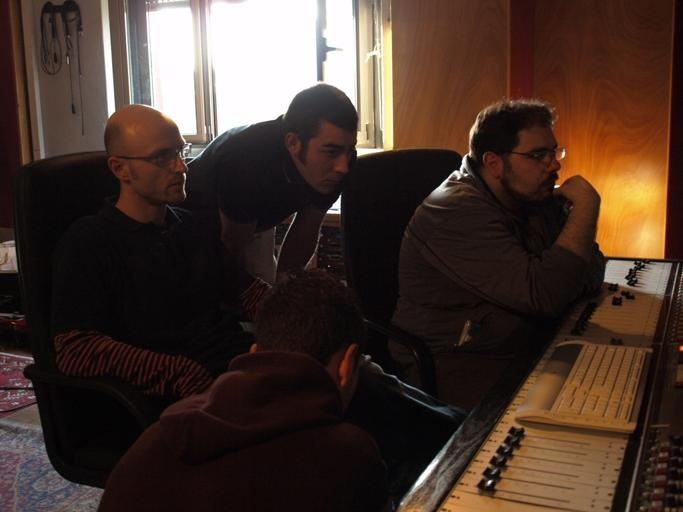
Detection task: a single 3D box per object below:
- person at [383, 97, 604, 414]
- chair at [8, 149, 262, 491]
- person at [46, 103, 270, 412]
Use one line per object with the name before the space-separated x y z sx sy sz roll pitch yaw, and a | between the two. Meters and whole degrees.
person | 0.620 -0.040 2.008 0.790 1.035 0.588 -11 15 -31
chair | -0.797 0.261 1.831 0.628 0.944 0.661 3 4 30
person | -0.555 -0.028 1.830 0.600 0.876 0.860 2 9 37
